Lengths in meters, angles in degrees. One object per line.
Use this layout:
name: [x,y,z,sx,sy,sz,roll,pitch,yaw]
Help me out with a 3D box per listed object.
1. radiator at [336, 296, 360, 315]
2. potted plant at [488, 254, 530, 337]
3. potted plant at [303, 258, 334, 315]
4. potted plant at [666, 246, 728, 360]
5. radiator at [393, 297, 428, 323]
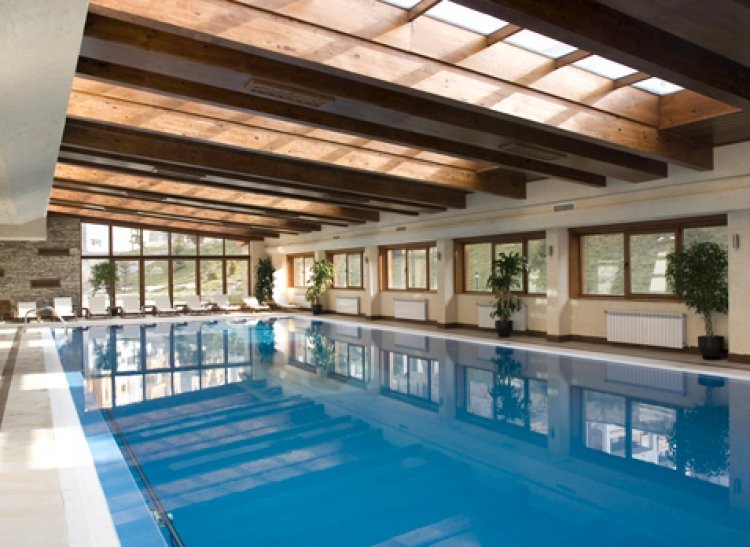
radiator: [-1.034,1.199,18.685,0.177,0.711,1.331,-6,7,-38]
potted plant: [3.455,0.518,12.848,0.953,2.138,1.086,0,6,13]
potted plant: [-2.176,0.479,19.576,1.063,2.190,0.956,-2,6,-6]
potted plant: [6.167,0.512,9.452,0.958,2.187,0.494,2,7,30]
radiator: [1.164,1.179,16.110,0.205,0.783,1.386,-6,7,-37]
